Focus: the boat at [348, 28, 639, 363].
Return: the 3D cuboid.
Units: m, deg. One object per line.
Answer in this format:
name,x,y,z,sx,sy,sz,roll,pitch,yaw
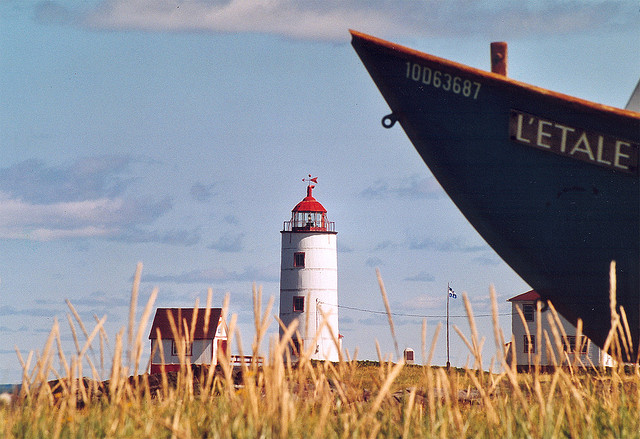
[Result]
boat,3.991,-0.450,30.042,4.731,6.019,1.839,-4,-14,8
